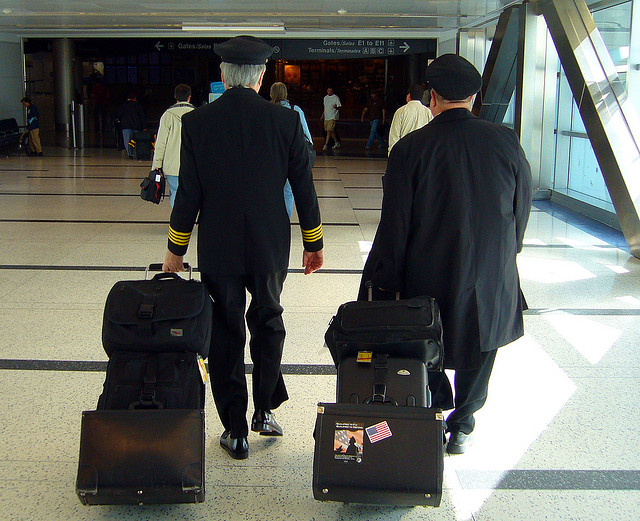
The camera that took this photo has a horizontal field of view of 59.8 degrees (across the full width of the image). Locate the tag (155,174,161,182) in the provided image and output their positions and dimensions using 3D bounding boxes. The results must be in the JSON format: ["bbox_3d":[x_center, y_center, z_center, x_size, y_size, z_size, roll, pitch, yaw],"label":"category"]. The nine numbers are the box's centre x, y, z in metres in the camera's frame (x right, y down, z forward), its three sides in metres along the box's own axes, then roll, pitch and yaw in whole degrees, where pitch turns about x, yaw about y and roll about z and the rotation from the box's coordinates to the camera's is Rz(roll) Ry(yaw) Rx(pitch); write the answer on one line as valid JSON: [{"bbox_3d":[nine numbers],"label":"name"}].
[{"bbox_3d":[-1.802,-0.918,6.183,0.061,0.066,0.017,4,-2,24],"label":"tag"}]

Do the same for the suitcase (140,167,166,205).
[{"bbox_3d":[-1.884,-0.873,6.333,0.230,0.458,0.320,6,0,-29],"label":"suitcase"}]

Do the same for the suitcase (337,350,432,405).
[{"bbox_3d":[0.282,0.398,2.465,0.376,0.410,0.216,5,-7,4],"label":"suitcase"}]

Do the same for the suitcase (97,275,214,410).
[{"bbox_3d":[-0.715,0.365,2.442,0.433,0.709,0.360,-1,-18,-3],"label":"suitcase"}]

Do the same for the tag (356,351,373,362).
[{"bbox_3d":[0.193,0.405,2.348,0.043,0.044,0.012,-1,-4,0],"label":"tag"}]

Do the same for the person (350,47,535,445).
[{"bbox_3d":[0.611,0.037,2.615,0.860,1.703,0.628,1,20,6],"label":"person"}]

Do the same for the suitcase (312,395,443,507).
[{"bbox_3d":[0.234,0.749,2.173,0.395,0.386,0.158,2,-28,5],"label":"suitcase"}]

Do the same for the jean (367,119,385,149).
[{"bbox_3d":[1.793,-4.070,17.676,0.474,0.889,1.485,2,18,7],"label":"jean"}]

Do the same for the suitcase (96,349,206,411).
[{"bbox_3d":[-0.715,0.460,2.443,0.409,0.228,0.405,2,31,-1],"label":"suitcase"}]

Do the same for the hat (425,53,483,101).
[{"bbox_3d":[0.592,-0.803,2.440,0.234,0.191,0.158,2,18,7],"label":"hat"}]

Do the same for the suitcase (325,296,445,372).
[{"bbox_3d":[0.274,0.336,2.386,0.520,0.377,0.213,2,18,8],"label":"suitcase"}]

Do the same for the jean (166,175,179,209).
[{"bbox_3d":[-1.654,-0.769,6.257,0.114,0.383,0.789,-5,19,-15],"label":"jean"}]

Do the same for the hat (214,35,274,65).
[{"bbox_3d":[-0.306,-0.939,2.460,0.155,0.066,0.184,23,37,23],"label":"hat"}]

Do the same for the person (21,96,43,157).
[{"bbox_3d":[-7.919,-3.688,15.344,0.330,1.498,1.562,-9,20,-26],"label":"person"}]
